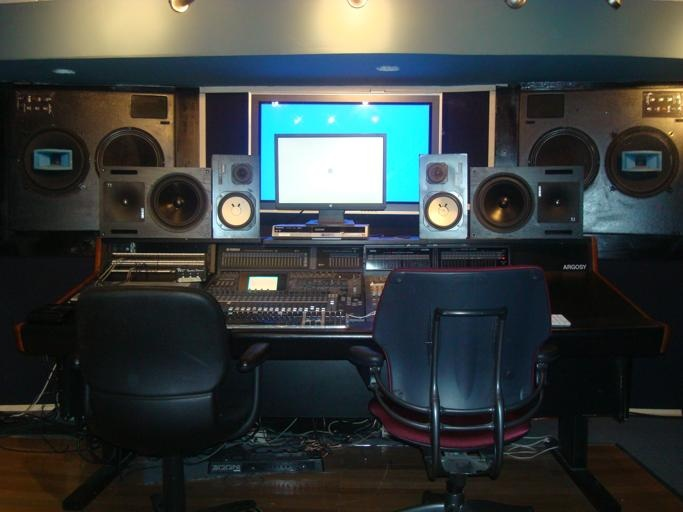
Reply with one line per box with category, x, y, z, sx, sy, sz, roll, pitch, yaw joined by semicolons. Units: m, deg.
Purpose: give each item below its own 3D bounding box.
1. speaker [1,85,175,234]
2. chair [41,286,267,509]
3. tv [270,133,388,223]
speaker;-1.712;-0.714;4.928;1.470;1.253;0.889;0;-1;-5
chair;-0.629;0.697;3.428;1.003;1.266;1.116;1;-5;5
tv;-0.066;-0.485;3.913;0.653;0.495;0.173;0;1;0
